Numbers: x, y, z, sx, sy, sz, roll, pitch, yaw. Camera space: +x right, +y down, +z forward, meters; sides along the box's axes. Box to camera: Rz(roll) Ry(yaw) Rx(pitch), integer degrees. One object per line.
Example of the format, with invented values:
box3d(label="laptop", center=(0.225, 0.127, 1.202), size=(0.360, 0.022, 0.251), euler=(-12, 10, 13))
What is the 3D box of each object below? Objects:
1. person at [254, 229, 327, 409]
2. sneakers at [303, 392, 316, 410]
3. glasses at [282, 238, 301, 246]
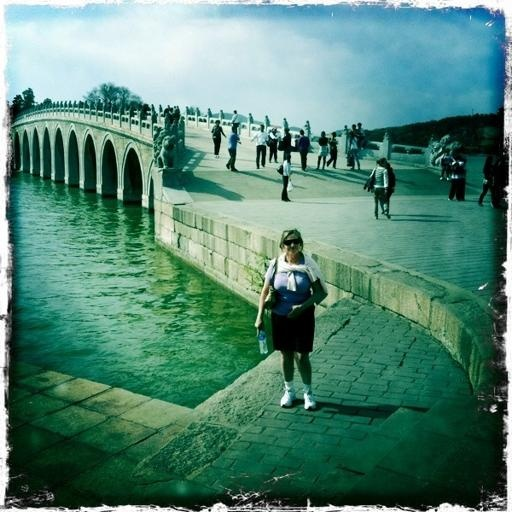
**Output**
box3d(label="person", center=(0.271, 0.528, 4.334), size=(0.583, 1.513, 0.281), euler=(3, 8, 13))
box3d(label="sneakers", center=(0.443, 1.197, 4.290), size=(0.103, 0.159, 0.098), euler=(3, 8, 13))
box3d(label="glasses", center=(0.293, -0.114, 4.253), size=(0.139, 0.063, 0.031), euler=(2, 8, 1))
